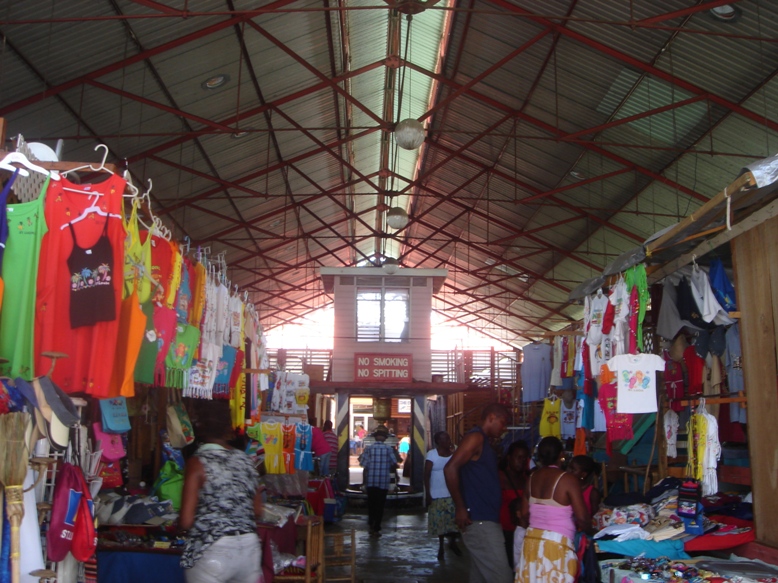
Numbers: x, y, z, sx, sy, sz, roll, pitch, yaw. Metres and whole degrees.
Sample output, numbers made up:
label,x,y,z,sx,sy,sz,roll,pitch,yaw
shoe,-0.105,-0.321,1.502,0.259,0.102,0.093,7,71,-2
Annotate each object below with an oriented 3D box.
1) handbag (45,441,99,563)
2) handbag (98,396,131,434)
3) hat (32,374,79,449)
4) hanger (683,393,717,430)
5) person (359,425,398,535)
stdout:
label,x,y,z,sx,sy,sz,roll,pitch,yaw
handbag,-2.247,1.569,5.924,0.321,0.689,0.203,7,-17,-20
handbag,-2.351,1.056,7.111,0.197,0.294,0.382,-6,-17,23
hat,-2.330,0.851,5.841,0.193,0.464,0.392,-3,-16,15
hanger,3.030,1.125,7.939,0.376,0.254,0.127,-10,-15,38
person,-0.179,3.047,13.359,0.584,1.722,1.165,1,-16,0
